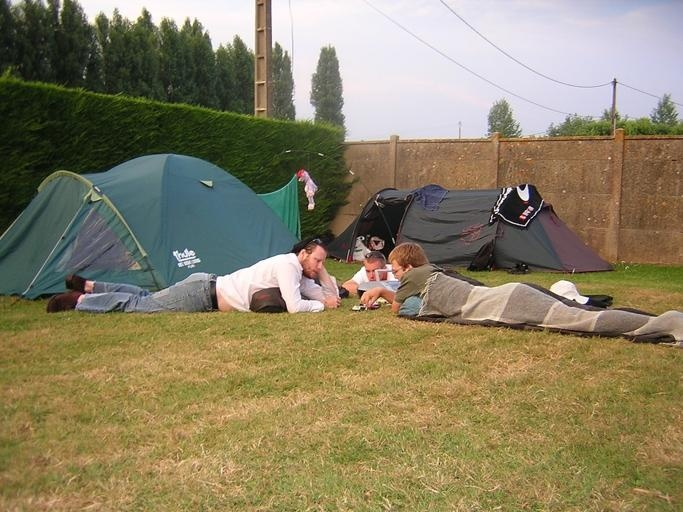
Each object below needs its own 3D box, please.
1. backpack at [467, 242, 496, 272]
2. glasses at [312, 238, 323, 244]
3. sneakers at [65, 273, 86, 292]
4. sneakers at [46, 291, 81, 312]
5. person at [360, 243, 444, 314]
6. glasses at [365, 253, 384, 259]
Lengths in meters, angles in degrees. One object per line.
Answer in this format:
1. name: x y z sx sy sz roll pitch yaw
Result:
1. backpack: 2.389 -0.010 10.718 0.369 0.509 0.168 21 -5 34
2. glasses: -0.259 -0.170 6.822 0.069 0.030 0.057 -19 29 -30
3. sneakers: -3.026 0.298 7.261 0.208 0.186 0.180 1 2 28
4. sneakers: -3.044 0.476 6.971 0.213 0.095 0.284 -1 5 12
5. person: 0.691 0.220 7.084 0.951 0.731 0.686 -6 12 11
6. glasses: 0.428 -0.017 8.015 0.115 0.044 0.118 -8 11 -44
